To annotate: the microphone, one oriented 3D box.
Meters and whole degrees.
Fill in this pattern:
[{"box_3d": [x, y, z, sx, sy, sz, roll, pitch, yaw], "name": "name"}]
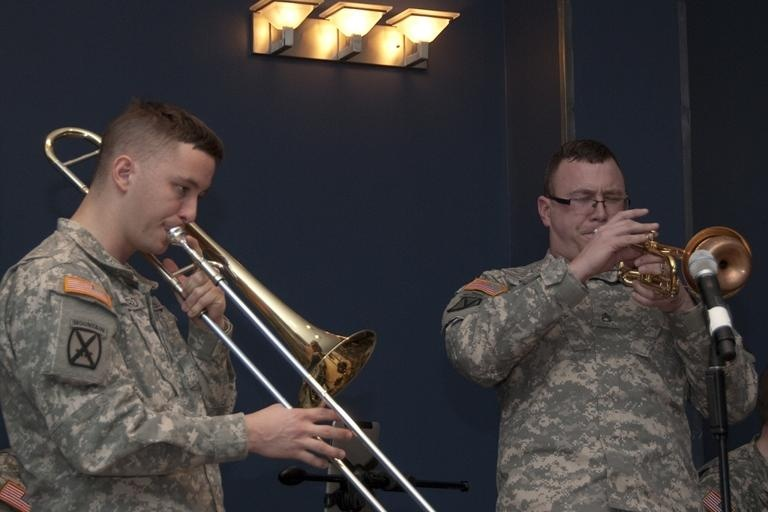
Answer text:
[{"box_3d": [1.040, 0.147, 3.149, 0.104, 0.376, 0.104, -28, -43, 25], "name": "microphone"}]
